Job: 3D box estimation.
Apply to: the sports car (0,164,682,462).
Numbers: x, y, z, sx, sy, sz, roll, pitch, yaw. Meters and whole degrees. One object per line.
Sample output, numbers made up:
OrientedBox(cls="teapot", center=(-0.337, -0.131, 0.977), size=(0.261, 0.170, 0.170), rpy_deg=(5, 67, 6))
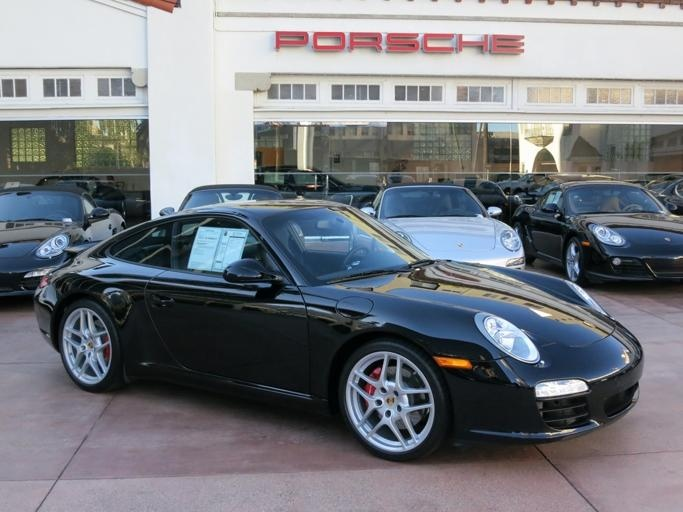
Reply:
OrientedBox(cls="sports car", center=(-0.092, 0.396, 4.200), size=(4.117, 1.553, 1.159), rpy_deg=(4, 11, 26))
